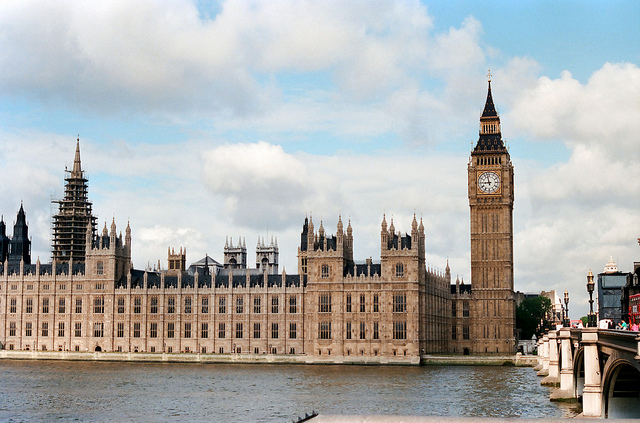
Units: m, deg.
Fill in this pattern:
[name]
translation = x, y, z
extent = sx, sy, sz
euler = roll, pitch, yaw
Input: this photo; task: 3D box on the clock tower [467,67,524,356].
[clock tower]
translation = 40.619, 4.630, 382.400
extent = 9.062, 57.307, 3.810
euler = -3, -10, 19
